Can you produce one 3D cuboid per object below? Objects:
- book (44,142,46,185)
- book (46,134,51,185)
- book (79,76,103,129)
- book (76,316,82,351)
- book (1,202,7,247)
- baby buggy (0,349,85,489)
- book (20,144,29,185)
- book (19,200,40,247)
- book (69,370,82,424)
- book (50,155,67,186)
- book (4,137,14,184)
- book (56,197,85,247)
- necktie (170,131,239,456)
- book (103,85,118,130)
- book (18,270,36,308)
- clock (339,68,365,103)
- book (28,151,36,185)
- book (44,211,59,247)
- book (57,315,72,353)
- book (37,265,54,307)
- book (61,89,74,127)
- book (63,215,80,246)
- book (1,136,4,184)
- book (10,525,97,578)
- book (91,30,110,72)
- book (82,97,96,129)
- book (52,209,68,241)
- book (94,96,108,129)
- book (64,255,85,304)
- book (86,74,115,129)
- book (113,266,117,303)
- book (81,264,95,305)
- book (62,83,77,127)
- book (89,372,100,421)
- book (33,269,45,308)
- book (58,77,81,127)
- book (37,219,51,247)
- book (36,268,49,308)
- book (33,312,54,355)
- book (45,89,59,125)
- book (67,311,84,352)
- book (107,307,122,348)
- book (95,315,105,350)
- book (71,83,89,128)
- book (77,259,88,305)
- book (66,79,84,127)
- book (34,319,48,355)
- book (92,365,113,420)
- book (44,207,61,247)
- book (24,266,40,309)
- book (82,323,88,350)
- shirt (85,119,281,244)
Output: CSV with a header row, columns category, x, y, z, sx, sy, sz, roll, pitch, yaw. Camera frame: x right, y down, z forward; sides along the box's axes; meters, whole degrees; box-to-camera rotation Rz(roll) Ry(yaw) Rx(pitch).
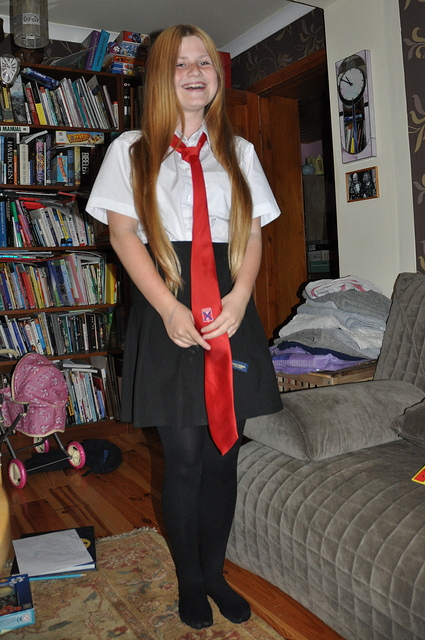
category,x,y,z,sx,sy,sz,roll,pitch,yaw
book,-1.045,-0.986,2.838,0.012,0.244,0.045,-1,-3,-20
book,-1.028,-1.014,2.858,0.036,0.300,0.068,-1,-3,-20
book,-0.791,-1.410,2.942,0.037,0.200,0.355,-22,-36,-3
book,-0.871,0.091,2.989,0.035,0.151,0.153,1,28,-13
book,-1.253,-0.578,2.732,0.031,0.265,0.035,-1,-3,-26
baby buggy,-0.883,0.481,2.345,0.418,0.679,0.413,-1,-2,-17
book,-1.152,-0.963,2.779,0.043,0.183,0.183,4,10,-8
book,-1.138,-0.597,2.816,0.048,0.300,0.276,-19,1,-16
book,-0.888,0.508,2.943,0.034,0.344,0.017,-13,-3,-23
book,-0.972,-0.955,2.874,0.104,0.191,0.070,-1,-2,-20
book,-1.227,-0.973,2.747,0.054,0.257,0.057,-1,-3,-22
book,-0.903,-0.642,2.948,0.246,0.255,0.060,-9,10,-32
necktie,-0.012,-0.075,0.948,0.094,0.701,0.113,0,-3,-37
book,-0.676,-1.408,3.000,0.035,0.232,0.298,-21,-3,-15
book,-1.147,-0.199,2.823,0.029,0.215,0.038,-6,14,40
clock,0.713,-1.204,2.324,0.023,0.164,0.159,-1,-2,-25
book,-1.113,-0.953,2.813,0.035,0.195,0.051,-2,-2,3
book,-1.024,-0.594,2.884,0.027,0.234,0.179,-21,20,-6
book,-0.949,0.089,2.940,0.042,0.187,0.186,-6,8,-14
book,-1.068,-0.239,2.904,0.046,0.202,0.198,-7,17,-14
book,-0.909,-1.340,2.880,0.031,0.255,0.029,-18,4,1
book,-0.906,-0.585,2.940,0.037,0.156,0.157,-9,10,-4
book,-1.260,-0.969,2.729,0.016,0.259,0.059,-1,-3,-26
book,-0.484,0.751,1.478,0.177,0.025,0.175,-2,3,-19
book,-0.726,-1.780,2.997,0.053,0.231,0.227,19,-7,-1
book,-0.796,-1.350,2.972,0.040,0.255,0.035,-23,6,-14
book,-0.972,-0.619,2.909,0.032,0.140,0.139,-12,22,-13
book,-0.730,-1.372,2.994,0.029,0.217,0.029,-9,12,40
book,-0.896,-0.261,2.938,0.053,0.231,0.225,-7,16,-14
book,-0.733,-1.451,3.002,0.063,0.262,0.256,-19,24,-18
book,-0.646,-0.240,3.037,0.021,0.236,0.052,-2,-2,-12
book,-0.800,-0.242,2.997,0.026,0.259,0.035,-8,18,27
book,-0.900,-1.373,2.894,0.029,0.286,0.022,-14,13,44
book,-0.774,0.514,3.004,0.036,0.358,0.032,-6,10,10
book,-1.088,-0.210,2.859,0.024,0.234,0.033,-14,2,36
book,-0.919,-1.394,2.901,0.059,0.239,0.230,-16,14,-12
book,-1.061,-0.553,2.867,0.031,0.130,0.131,-18,34,-21
book,-1.082,-0.201,2.877,0.029,0.247,0.189,-16,21,-6
book,-1.048,0.081,2.879,0.046,0.200,0.198,-7,7,-18
book,-1.007,-1.343,2.847,0.016,0.195,0.082,-4,-3,32
book,-0.897,0.071,2.967,0.142,0.199,0.203,-13,15,-16
book,-0.649,0.043,3.026,0.148,0.244,0.259,-2,4,-12
book,-0.753,0.077,3.041,0.057,0.228,0.043,-1,-3,-14
book,-0.854,-1.394,2.910,0.030,0.233,0.296,-20,-6,-11
book,-0.844,-0.247,2.973,0.038,0.312,0.041,-11,0,-5
book,-0.880,-1.397,2.898,0.027,0.238,0.322,-26,22,-16
book,-1.081,0.101,2.867,0.040,0.172,0.172,-12,20,-20
book,-0.710,0.483,3.030,0.063,0.270,0.266,-12,16,-15
book,-1.009,-0.627,2.889,0.035,0.150,0.148,-16,-30,-9
book,-1.133,-0.210,2.839,0.031,0.274,0.211,-21,19,-10
book,-0.844,0.109,3.011,0.024,0.167,0.032,-2,-2,-3
shirt,-0.058,-0.312,1.035,0.437,0.315,0.199,-2,3,-10
